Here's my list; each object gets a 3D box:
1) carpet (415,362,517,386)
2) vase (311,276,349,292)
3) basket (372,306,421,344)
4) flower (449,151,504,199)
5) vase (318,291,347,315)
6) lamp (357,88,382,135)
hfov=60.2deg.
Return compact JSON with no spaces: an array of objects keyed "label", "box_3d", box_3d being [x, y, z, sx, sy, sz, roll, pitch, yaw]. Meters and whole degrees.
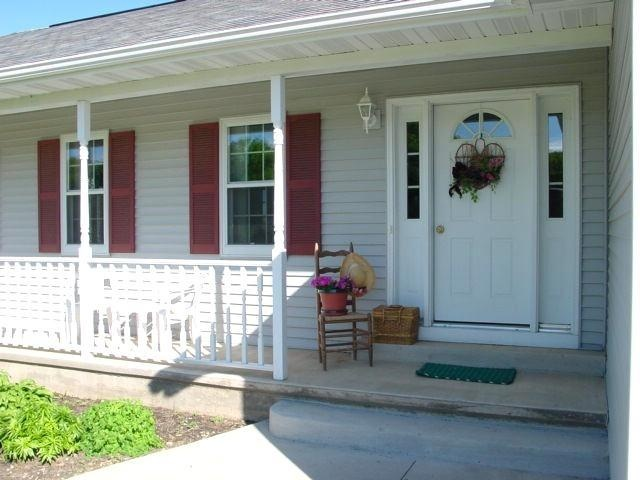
[{"label":"carpet","box_3d":[1.440,1.297,5.442,0.924,0.043,0.561,0,2,19]},{"label":"vase","box_3d":[0.118,0.468,6.030,0.266,0.108,0.235,-1,2,-4]},{"label":"basket","box_3d":[0.914,0.924,6.586,0.742,0.490,0.435,1,4,18]},{"label":"flower","box_3d":[1.839,-0.769,6.406,0.609,0.615,0.268,1,-34,17]},{"label":"vase","box_3d":[0.164,0.685,6.069,0.292,0.169,0.269,-2,-5,24]},{"label":"lamp","box_3d":[0.611,-1.578,6.641,0.341,0.545,0.293,3,18,10]}]
